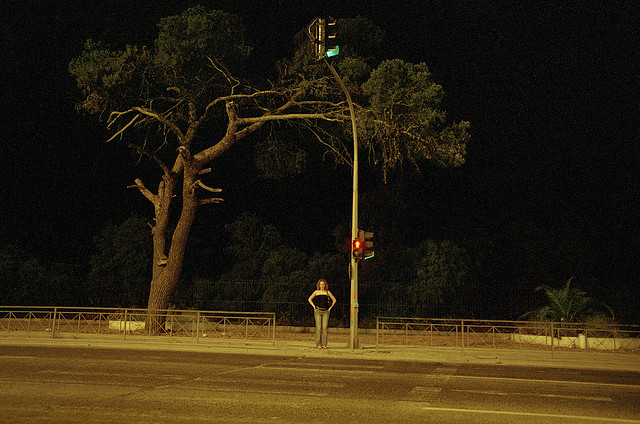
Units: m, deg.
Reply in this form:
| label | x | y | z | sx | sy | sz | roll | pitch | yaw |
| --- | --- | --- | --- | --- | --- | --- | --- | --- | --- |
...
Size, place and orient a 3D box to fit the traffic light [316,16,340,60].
| label | x | y | z | sx | sy | sz | roll | pitch | yaw |
| --- | --- | --- | --- | --- | --- | --- | --- | --- | --- |
| traffic light | 0.261 | -5.995 | 22.650 | 0.848 | 1.798 | 0.681 | -2 | -30 | 3 |
